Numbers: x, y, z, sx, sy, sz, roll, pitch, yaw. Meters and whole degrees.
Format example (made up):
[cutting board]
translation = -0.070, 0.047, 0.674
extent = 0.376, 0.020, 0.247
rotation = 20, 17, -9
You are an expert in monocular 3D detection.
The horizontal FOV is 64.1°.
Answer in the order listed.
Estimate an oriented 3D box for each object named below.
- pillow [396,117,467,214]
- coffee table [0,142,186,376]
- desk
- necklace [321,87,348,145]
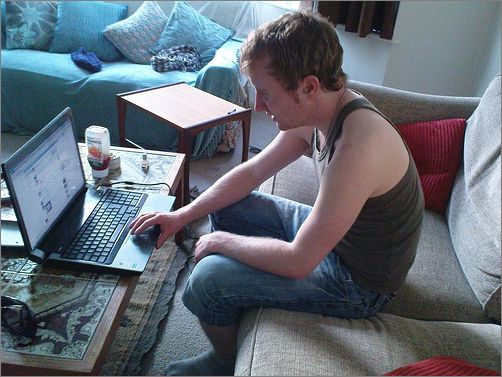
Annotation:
[pillow]
translation = 0.928, -0.089, 2.000
extent = 0.432, 0.426, 0.129
rotation = 22, 6, 41
[coffee table]
translation = -0.589, 0.490, 1.994
extent = 0.726, 0.619, 1.180
rotation = 6, 39, -5
[desk]
translation = -0.416, -0.164, 2.920
extent = 0.731, 0.822, 0.999
rotation = -26, 48, -37
[necklace]
translation = 0.302, -0.245, 1.448
extent = 0.051, 0.215, 0.113
rotation = 13, 0, -24
